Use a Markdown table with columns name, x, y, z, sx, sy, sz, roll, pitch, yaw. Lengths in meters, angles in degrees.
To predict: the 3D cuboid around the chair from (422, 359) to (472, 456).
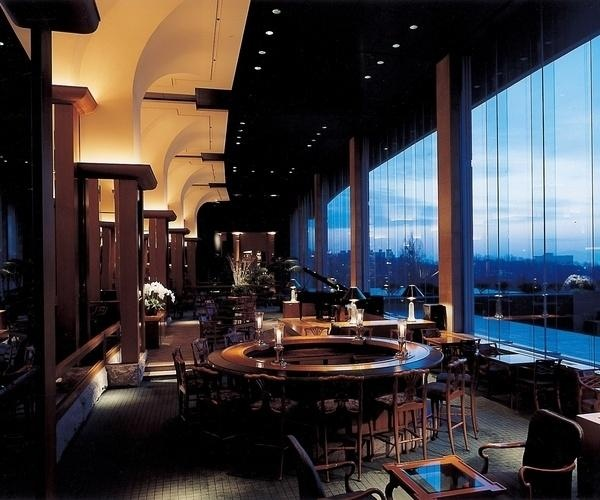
| name | x | y | z | sx | sy | sz | roll | pitch | yaw |
| --- | --- | --- | --- | --- | --- | --- | --- | --- | --- |
| chair | 1.744 | 1.868 | 6.430 | 0.536 | 1.173 | 0.597 | 0 | 3 | -2 |

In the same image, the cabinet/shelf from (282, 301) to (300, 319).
| name | x | y | z | sx | sy | sz | roll | pitch | yaw |
| --- | --- | --- | --- | --- | --- | --- | --- | --- | --- |
| cabinet/shelf | -0.209 | 1.590 | 14.116 | 0.522 | 0.468 | 0.337 | 2 | -6 | -20 |

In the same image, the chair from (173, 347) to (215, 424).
| name | x | y | z | sx | sy | sz | roll | pitch | yaw |
| --- | --- | --- | --- | --- | --- | --- | --- | --- | --- |
| chair | -1.334 | 1.757 | 6.860 | 0.434 | 0.803 | 0.441 | -2 | 7 | -14 |

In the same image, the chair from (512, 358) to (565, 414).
| name | x | y | z | sx | sy | sz | roll | pitch | yaw |
| --- | --- | --- | --- | --- | --- | --- | --- | --- | --- |
| chair | 3.266 | 1.833 | 7.050 | 0.455 | 0.710 | 0.717 | -1 | -1 | -5 |

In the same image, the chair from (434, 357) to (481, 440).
| name | x | y | z | sx | sy | sz | roll | pitch | yaw |
| --- | --- | --- | --- | --- | --- | --- | --- | --- | --- |
| chair | 1.820 | 1.811 | 6.418 | 0.530 | 1.122 | 0.599 | -5 | -5 | 39 |

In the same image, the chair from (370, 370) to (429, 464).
| name | x | y | z | sx | sy | sz | roll | pitch | yaw |
| --- | --- | --- | --- | --- | --- | --- | --- | --- | --- |
| chair | 1.141 | 1.829 | 5.941 | 0.490 | 1.095 | 0.562 | 0 | 0 | -13 |

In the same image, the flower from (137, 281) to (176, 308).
| name | x | y | z | sx | sy | sz | roll | pitch | yaw |
| --- | --- | --- | --- | --- | --- | --- | --- | --- | --- |
| flower | -3.367 | 1.048 | 12.365 | 0.626 | 0.621 | 0.696 | -3 | -2 | 14 |

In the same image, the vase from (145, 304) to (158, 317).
| name | x | y | z | sx | sy | sz | roll | pitch | yaw |
| --- | --- | --- | --- | --- | --- | --- | --- | --- | --- |
| vase | -3.470 | 1.415 | 12.373 | 0.259 | 0.231 | 0.242 | 1 | 0 | -31 |

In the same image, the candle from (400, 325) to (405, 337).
| name | x | y | z | sx | sy | sz | roll | pitch | yaw |
| --- | --- | --- | --- | --- | --- | --- | --- | --- | --- |
| candle | 1.269 | 1.001 | 6.506 | 0.069 | 0.126 | 0.100 | -1 | -1 | 6 |

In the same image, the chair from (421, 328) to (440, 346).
| name | x | y | z | sx | sy | sz | roll | pitch | yaw |
| --- | --- | --- | --- | --- | --- | --- | --- | --- | --- |
| chair | 2.218 | 1.452 | 8.922 | 0.248 | 0.421 | 0.279 | -1 | 2 | -30 |

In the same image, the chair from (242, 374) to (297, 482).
| name | x | y | z | sx | sy | sz | roll | pitch | yaw |
| --- | --- | --- | --- | --- | --- | --- | --- | --- | --- |
| chair | -0.309 | 1.861 | 5.961 | 0.569 | 0.736 | 0.924 | -1 | -1 | -5 |

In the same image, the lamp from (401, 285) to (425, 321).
| name | x | y | z | sx | sy | sz | roll | pitch | yaw |
| --- | --- | --- | --- | --- | --- | --- | --- | --- | --- |
| lamp | 2.049 | 0.946 | 9.541 | 0.415 | 0.644 | 0.437 | 3 | -5 | -23 |

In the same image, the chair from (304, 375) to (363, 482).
| name | x | y | z | sx | sy | sz | roll | pitch | yaw |
| --- | --- | --- | --- | --- | --- | --- | --- | --- | --- |
| chair | 0.480 | 1.946 | 5.986 | 0.744 | 1.229 | 0.798 | -1 | 1 | 29 |

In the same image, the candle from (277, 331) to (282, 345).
| name | x | y | z | sx | sy | sz | roll | pitch | yaw |
| --- | --- | --- | --- | --- | --- | --- | --- | --- | --- |
| candle | -0.232 | 1.006 | 6.049 | 0.041 | 0.171 | 0.122 | -1 | -1 | -3 |
